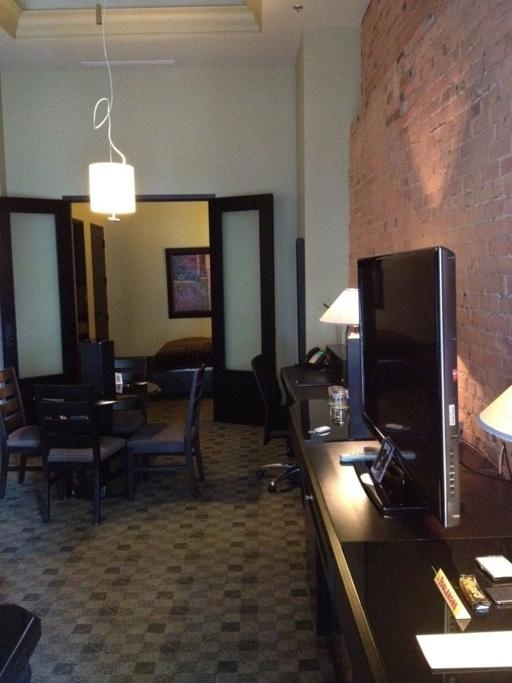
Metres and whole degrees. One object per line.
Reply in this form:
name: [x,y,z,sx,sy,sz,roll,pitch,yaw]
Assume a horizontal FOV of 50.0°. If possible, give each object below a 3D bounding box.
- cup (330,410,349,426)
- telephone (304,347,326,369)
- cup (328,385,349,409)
cup: [0.360,0.335,2.376,0.054,0.062,0.060,1,14,6]
telephone: [0.438,0.128,4.078,0.050,0.164,0.110,28,-12,-26]
cup: [0.367,0.245,2.451,0.082,0.112,0.091,0,12,1]
